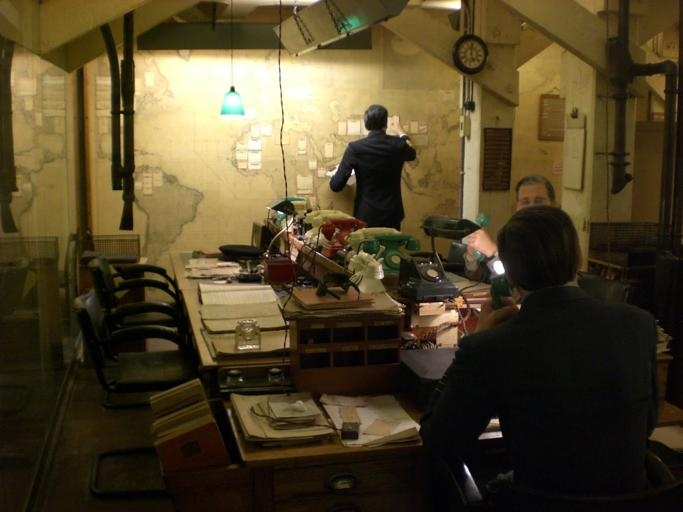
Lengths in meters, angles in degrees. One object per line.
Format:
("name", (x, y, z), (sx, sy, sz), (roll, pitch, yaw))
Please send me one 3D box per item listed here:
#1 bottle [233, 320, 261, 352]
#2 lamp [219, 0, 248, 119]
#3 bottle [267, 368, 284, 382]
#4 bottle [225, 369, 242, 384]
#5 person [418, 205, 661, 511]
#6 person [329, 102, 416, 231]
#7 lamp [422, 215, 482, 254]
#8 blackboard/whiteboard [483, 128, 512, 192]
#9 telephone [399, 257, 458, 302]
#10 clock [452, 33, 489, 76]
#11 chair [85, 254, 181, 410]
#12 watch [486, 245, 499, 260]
("bottle", (-0.511, 0.430, 3.332), (0.143, 0.185, 0.137), (2, 1, 0))
("lamp", (-1.255, -2.241, 7.097), (0.278, 1.277, 1.061), (-1, 12, -9))
("bottle", (-0.320, 0.581, 2.997), (0.063, 0.056, 0.063), (1, 7, 0))
("bottle", (-0.522, 0.576, 2.984), (0.066, 0.046, 0.065), (1, -2, 0))
("person", (0.695, 0.451, 2.183), (0.784, 1.224, 0.450), (6, 13, 22))
("person", (0.294, -0.874, 6.097), (0.671, 1.169, 0.272), (1, 12, 1))
("lamp", (0.568, -0.107, 3.382), (0.161, 0.206, 0.375), (-1, 6, -25))
("blackboard/whiteboard", (1.580, -0.975, 6.275), (0.376, 0.639, 0.107), (-5, 13, -24))
("telephone", (0.482, 0.123, 3.557), (0.255, 0.207, 0.405), (-2, 8, -14))
("clock", (1.206, -1.915, 5.836), (0.384, 0.379, 0.063), (-5, 15, -18))
("chair", (-1.500, 0.542, 4.381), (0.510, 0.503, 1.101), (-1, 16, -13))
("watch", (0.741, -0.018, 3.056), (0.044, 0.051, 0.057), (-11, 38, 31))
